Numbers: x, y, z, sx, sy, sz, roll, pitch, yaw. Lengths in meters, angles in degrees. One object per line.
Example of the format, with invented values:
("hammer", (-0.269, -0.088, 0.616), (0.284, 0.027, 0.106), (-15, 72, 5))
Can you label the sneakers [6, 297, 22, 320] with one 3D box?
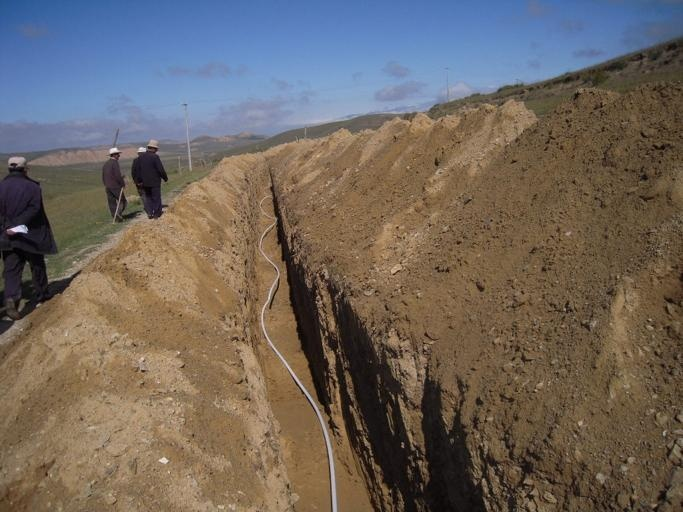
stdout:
("sneakers", (-4.997, 0.810, 6.917), (0.098, 0.336, 0.225), (-1, 22, -24))

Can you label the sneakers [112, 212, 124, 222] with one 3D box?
("sneakers", (-6.037, -1.035, 12.303), (0.228, 0.257, 0.211), (-6, 2, -38))
